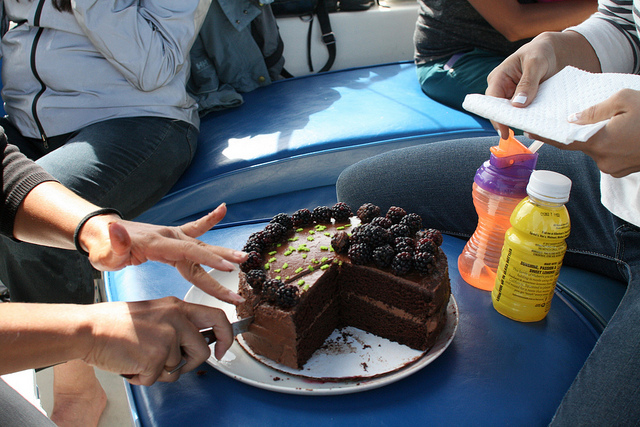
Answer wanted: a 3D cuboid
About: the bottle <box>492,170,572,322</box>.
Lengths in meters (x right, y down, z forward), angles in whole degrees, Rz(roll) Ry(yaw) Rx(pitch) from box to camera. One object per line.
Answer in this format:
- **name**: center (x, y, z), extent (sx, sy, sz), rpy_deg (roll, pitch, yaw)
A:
- **bottle**: center (0.779, 0.124, 1.652), extent (0.231, 0.612, 0.241), rpy_deg (-3, 37, 2)
